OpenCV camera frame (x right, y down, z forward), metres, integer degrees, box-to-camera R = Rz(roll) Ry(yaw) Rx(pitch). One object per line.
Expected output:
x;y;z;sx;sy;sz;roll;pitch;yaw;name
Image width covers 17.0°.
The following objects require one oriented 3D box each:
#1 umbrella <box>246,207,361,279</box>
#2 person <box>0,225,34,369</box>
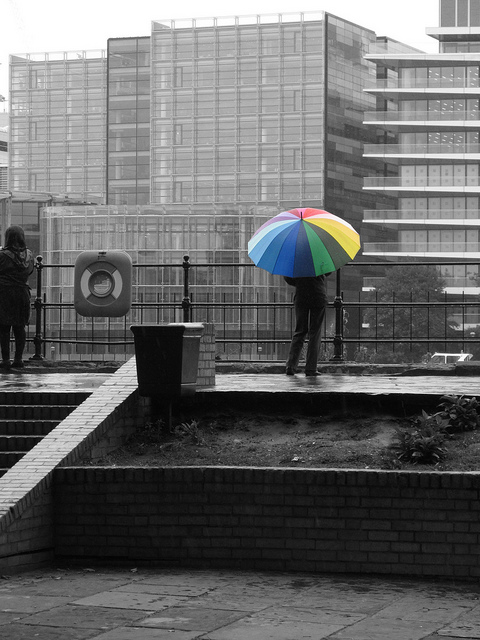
0.651;-0.795;15.516;1.001;0.377;1.024;-28;36;-30;umbrella
-2.419;-0.258;17.088;0.323;1.518;0.741;2;1;-4;person
